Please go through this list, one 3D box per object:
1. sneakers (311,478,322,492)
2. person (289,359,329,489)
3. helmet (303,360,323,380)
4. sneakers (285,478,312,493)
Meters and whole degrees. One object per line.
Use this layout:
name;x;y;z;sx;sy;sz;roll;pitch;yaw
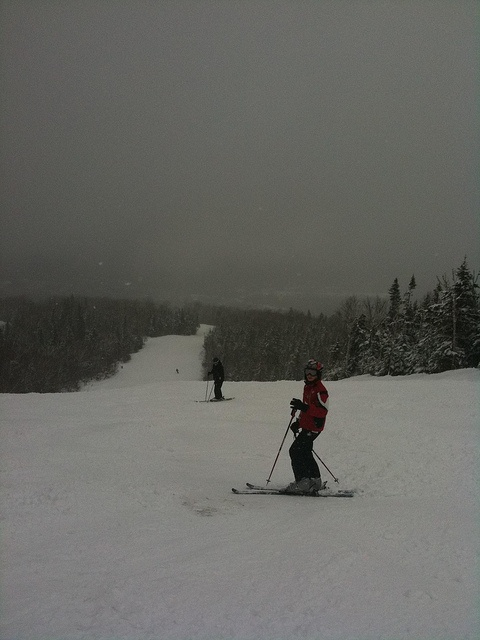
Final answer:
sneakers;1.025;2.209;11.185;0.112;0.171;0.153;-2;-1;-6
person;0.939;1.419;11.191;0.577;1.223;0.427;2;1;28
helmet;0.990;0.677;11.196;0.175;0.276;0.255;0;-7;30
sneakers;0.818;2.207;11.196;0.407;0.242;0.161;1;-3;13
